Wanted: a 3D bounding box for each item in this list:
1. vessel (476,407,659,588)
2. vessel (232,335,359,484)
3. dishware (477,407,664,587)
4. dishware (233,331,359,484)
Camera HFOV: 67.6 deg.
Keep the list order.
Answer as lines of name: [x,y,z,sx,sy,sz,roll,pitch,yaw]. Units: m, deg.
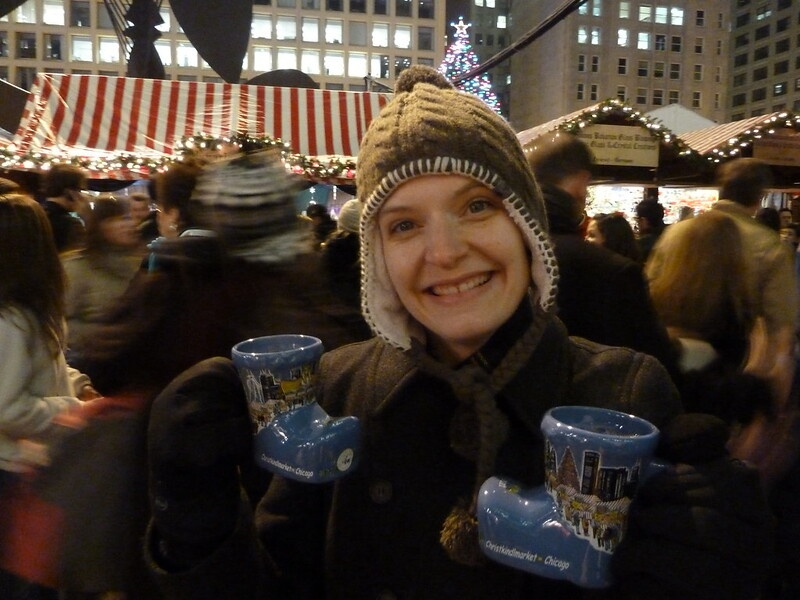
vessel: [0.399,0.428,1.344,0.431,0.312,0.261,4,-1,21]
vessel: [-0.232,0.256,1.546,0.425,0.330,0.266,2,6,23]
dishware: [0.421,0.428,1.349,0.487,0.307,0.277,2,-1,17]
dishware: [-0.251,0.255,1.505,0.357,0.284,0.249,6,8,40]
